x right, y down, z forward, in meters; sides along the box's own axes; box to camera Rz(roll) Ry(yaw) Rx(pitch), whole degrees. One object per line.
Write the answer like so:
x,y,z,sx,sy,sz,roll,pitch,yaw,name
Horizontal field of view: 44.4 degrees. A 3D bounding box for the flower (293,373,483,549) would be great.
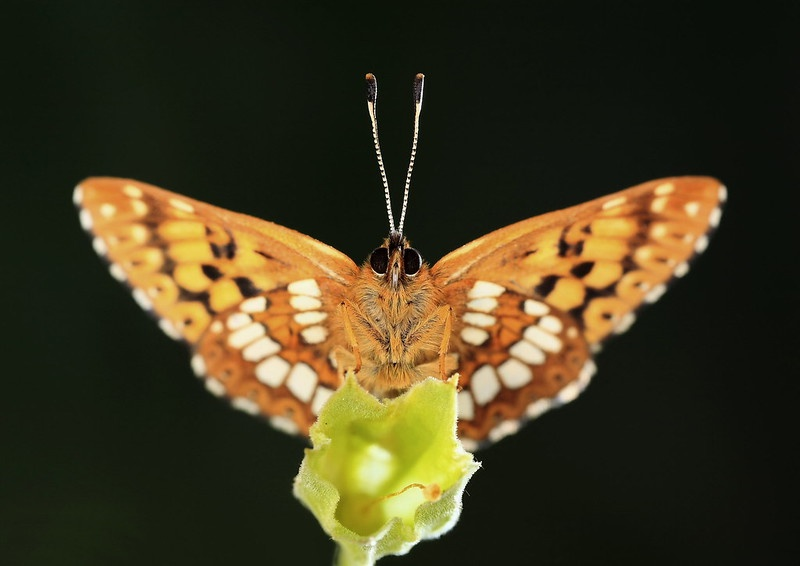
0.023,0.477,2.743,0.563,0.507,0.229,2,64,-28,flower
